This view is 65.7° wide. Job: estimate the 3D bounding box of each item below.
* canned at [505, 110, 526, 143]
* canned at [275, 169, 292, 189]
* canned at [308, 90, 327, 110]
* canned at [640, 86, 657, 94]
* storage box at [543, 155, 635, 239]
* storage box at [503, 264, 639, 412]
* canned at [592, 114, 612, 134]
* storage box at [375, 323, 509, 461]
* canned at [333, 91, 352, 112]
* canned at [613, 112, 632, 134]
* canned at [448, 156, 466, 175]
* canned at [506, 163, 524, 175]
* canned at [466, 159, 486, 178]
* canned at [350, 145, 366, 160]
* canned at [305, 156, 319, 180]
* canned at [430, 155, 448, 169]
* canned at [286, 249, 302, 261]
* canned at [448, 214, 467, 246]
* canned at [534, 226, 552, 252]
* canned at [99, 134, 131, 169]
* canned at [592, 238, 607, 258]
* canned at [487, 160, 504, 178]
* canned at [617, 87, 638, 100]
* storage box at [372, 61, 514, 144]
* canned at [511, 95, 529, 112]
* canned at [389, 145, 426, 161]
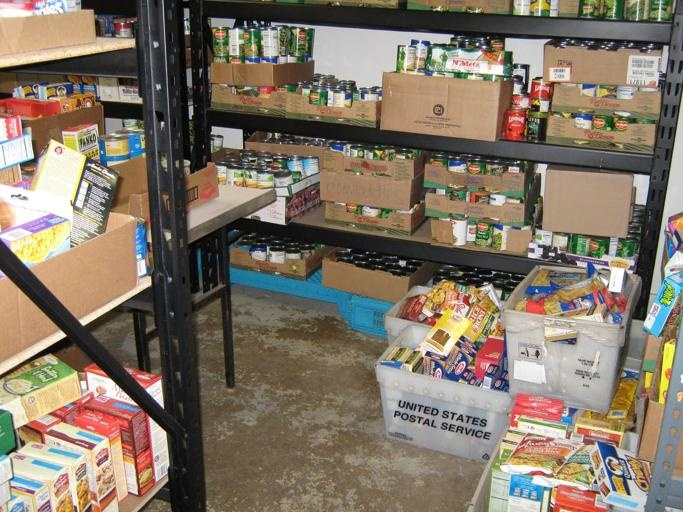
[{"bbox_3d":[0.976,-0.733,2.962,0.132,0.166,0.114,0,24,8],"label":"canned"},{"bbox_3d":[-0.382,-0.505,3.454,0.120,0.074,0.108,2,29,6],"label":"canned"},{"bbox_3d":[-0.147,-0.982,3.337,0.113,0.098,0.109,20,37,26],"label":"canned"},{"bbox_3d":[1.545,-0.837,2.665,0.090,0.031,0.042,11,24,22],"label":"canned"},{"bbox_3d":[1.321,-0.327,2.869,0.590,0.371,0.356,6,13,17],"label":"storage box"},{"bbox_3d":[1.112,0.407,2.529,0.512,0.438,0.620,3,10,34],"label":"storage box"},{"bbox_3d":[1.368,-0.703,2.829,0.098,0.095,0.096,7,37,39],"label":"canned"},{"bbox_3d":[0.502,0.673,2.689,0.640,0.369,0.449,10,28,21],"label":"storage box"},{"bbox_3d":[0.007,-0.959,3.275,0.118,0.098,0.111,-14,31,-27],"label":"canned"},{"bbox_3d":[1.450,-0.693,2.735,0.076,0.121,0.069,17,57,23],"label":"canned"},{"bbox_3d":[0.688,-0.534,3.194,0.104,0.092,0.102,-27,45,-35],"label":"canned"},{"bbox_3d":[0.992,-0.510,3.040,0.083,0.070,0.077,9,33,16],"label":"canned"},{"bbox_3d":[0.789,-0.520,3.162,0.106,0.100,0.103,-22,29,-32],"label":"canned"},{"bbox_3d":[0.090,-0.675,3.427,0.102,0.085,0.095,-9,23,-22],"label":"canned"},{"bbox_3d":[-0.213,-0.612,3.660,0.133,0.126,0.123,-10,34,-15],"label":"canned"},{"bbox_3d":[0.588,-0.579,3.233,0.099,0.091,0.097,-2,66,8],"label":"canned"},{"bbox_3d":[-0.339,-0.015,3.719,0.091,0.076,0.084,-10,33,-17],"label":"canned"},{"bbox_3d":[0.699,-0.166,3.209,0.125,0.188,0.127,-15,27,-23],"label":"canned"},{"bbox_3d":[1.161,-0.101,3.106,0.120,0.113,0.115,12,30,28],"label":"canned"},{"bbox_3d":[-0.867,-0.405,2.017,0.117,0.104,0.102,1,21,-4],"label":"canned"},{"bbox_3d":[1.450,-0.050,2.981,0.080,0.110,0.064,17,47,35],"label":"canned"},{"bbox_3d":[0.891,-0.515,3.088,0.100,0.080,0.093,2,9,6],"label":"canned"},{"bbox_3d":[1.448,-0.836,2.701,0.074,0.064,0.074,21,35,37],"label":"canned"},{"bbox_3d":[0.693,-0.915,3.169,0.764,0.319,0.574,19,30,34],"label":"storage box"},{"bbox_3d":[0.972,-0.853,2.943,0.105,0.092,0.096,0,27,5],"label":"canned"},{"bbox_3d":[0.404,-0.646,3.293,0.151,0.044,0.134,12,30,18],"label":"canned"}]
